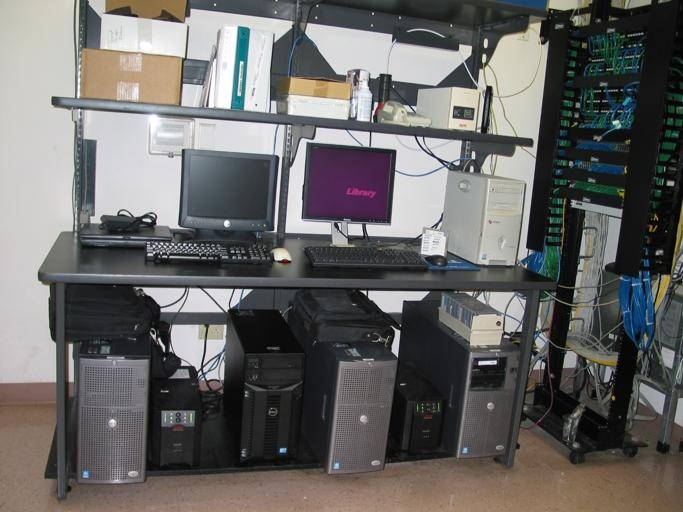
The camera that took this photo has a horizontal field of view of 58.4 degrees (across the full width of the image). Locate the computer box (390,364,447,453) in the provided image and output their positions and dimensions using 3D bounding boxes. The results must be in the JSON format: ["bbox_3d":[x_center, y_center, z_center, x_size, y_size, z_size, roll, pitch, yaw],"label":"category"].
[{"bbox_3d":[0.335,0.748,3.230,0.289,0.498,0.508,1,2,-9],"label":"computer box"}]

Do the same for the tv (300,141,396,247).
[{"bbox_3d":[0.019,-0.352,3.288,0.525,0.549,0.171,6,4,-12],"label":"tv"}]

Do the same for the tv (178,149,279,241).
[{"bbox_3d":[-0.598,-0.320,3.151,0.451,0.428,0.178,1,5,-12],"label":"tv"}]

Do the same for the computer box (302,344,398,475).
[{"bbox_3d":[0.021,0.710,3.115,0.324,0.576,0.538,3,10,-15],"label":"computer box"}]

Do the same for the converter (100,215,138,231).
[{"bbox_3d":[-1.095,-0.165,3.021,0.109,0.038,0.111,2,16,-23],"label":"converter"}]

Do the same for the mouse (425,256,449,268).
[{"bbox_3d":[0.480,0.025,3.119,0.052,0.041,0.102,0,8,-12],"label":"mouse"}]

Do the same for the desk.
[{"bbox_3d":[-0.204,0.483,3.108,2.320,1.205,1.022,-2,7,-20],"label":"desk"}]

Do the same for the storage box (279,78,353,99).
[{"bbox_3d":[-0.125,-0.829,3.021,0.339,0.098,0.105,0,6,0],"label":"storage box"}]
